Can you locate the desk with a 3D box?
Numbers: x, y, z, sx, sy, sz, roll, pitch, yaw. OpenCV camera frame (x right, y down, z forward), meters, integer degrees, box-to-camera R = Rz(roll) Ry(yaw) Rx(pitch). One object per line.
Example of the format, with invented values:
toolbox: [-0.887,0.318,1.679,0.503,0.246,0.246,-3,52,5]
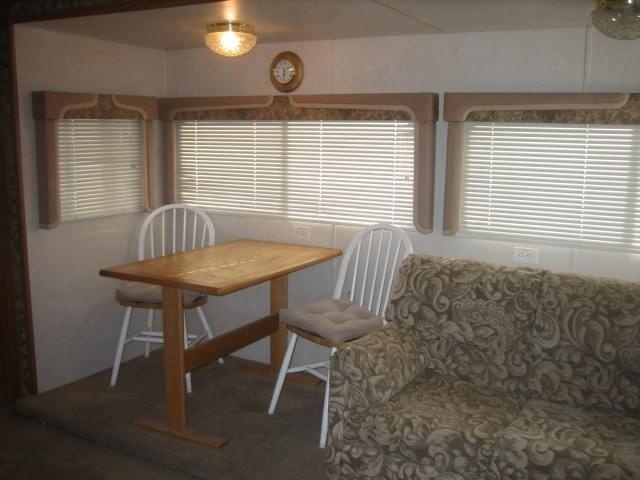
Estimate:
desk: [-0.595,0.619,3.381,0.955,1.006,1.396,5,10,25]

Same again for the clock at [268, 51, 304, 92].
clock: [-0.254,-1.240,3.665,0.271,0.266,0.045,6,10,29]

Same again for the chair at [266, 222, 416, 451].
chair: [0.166,0.528,3.137,0.741,1.280,0.733,1,11,-17]

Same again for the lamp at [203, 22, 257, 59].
lamp: [-0.561,-1.246,3.119,0.298,0.163,0.305,-3,1,19]
